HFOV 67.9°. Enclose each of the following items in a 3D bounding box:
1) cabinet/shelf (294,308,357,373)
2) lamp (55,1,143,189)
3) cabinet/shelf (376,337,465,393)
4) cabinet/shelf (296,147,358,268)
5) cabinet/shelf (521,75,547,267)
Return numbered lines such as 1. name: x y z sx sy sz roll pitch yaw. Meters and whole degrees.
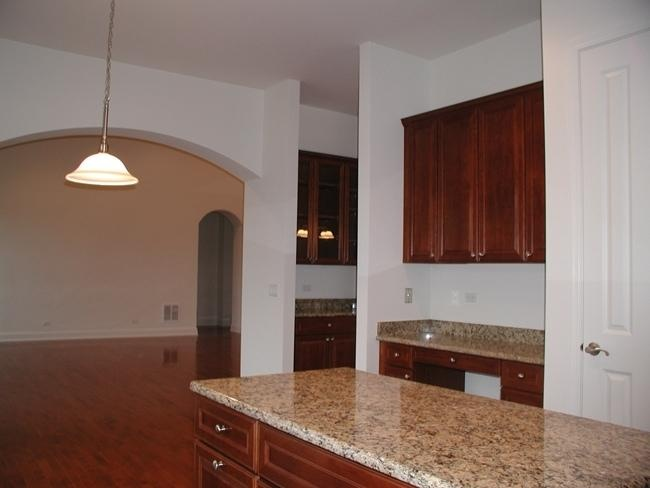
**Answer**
1. cabinet/shelf: -0.007 1.169 5.724 0.800 0.804 0.319 2 -4 -27
2. lamp: -1.805 -1.232 3.975 0.465 1.698 1.714 2 -2 -26
3. cabinet/shelf: 0.861 1.055 4.403 0.357 0.699 0.688 3 -2 -41
4. cabinet/shelf: 0.004 -0.438 6.227 1.403 1.473 0.458 2 -4 -27
5. cabinet/shelf: 1.645 -0.560 3.775 0.108 1.407 0.229 2 -2 -9
